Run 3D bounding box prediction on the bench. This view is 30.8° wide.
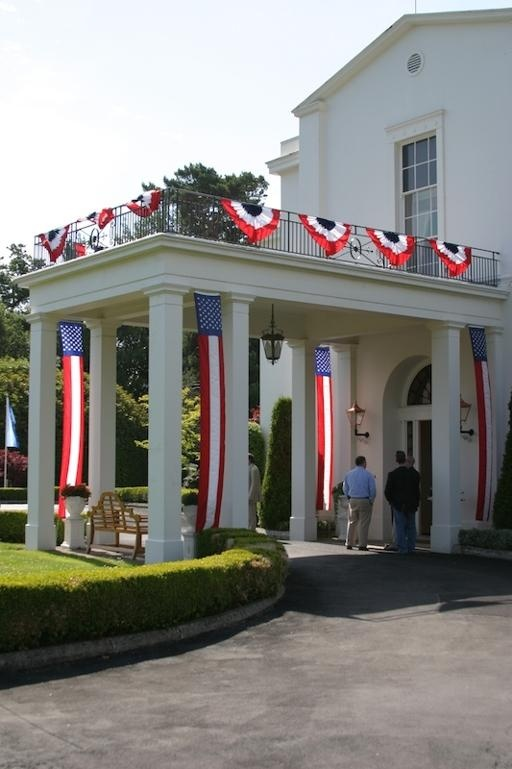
[{"bbox_3d":[-2.046,2.009,13.653,0.805,0.909,2.899,0,-2,-9],"label":"bench"}]

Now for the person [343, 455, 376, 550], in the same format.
[{"bbox_3d":[1.587,1.816,14.352,0.365,1.413,0.649,1,-2,-33],"label":"person"}]

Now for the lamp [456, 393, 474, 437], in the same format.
[{"bbox_3d":[3.441,0.529,15.243,0.222,0.671,0.579,0,-2,14],"label":"lamp"}]

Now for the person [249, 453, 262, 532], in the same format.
[{"bbox_3d":[-0.030,1.855,16.299,0.172,1.279,0.584,0,-2,0],"label":"person"}]

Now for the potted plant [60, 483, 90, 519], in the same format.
[{"bbox_3d":[-2.737,1.722,13.779,0.433,0.521,0.791,2,-3,-43],"label":"potted plant"}]

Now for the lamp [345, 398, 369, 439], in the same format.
[{"bbox_3d":[1.859,0.672,17.376,0.532,0.998,0.367,8,-10,-37],"label":"lamp"}]

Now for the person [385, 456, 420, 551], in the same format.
[{"bbox_3d":[2.190,1.764,14.069,0.477,1.511,0.644,0,-2,9],"label":"person"}]
